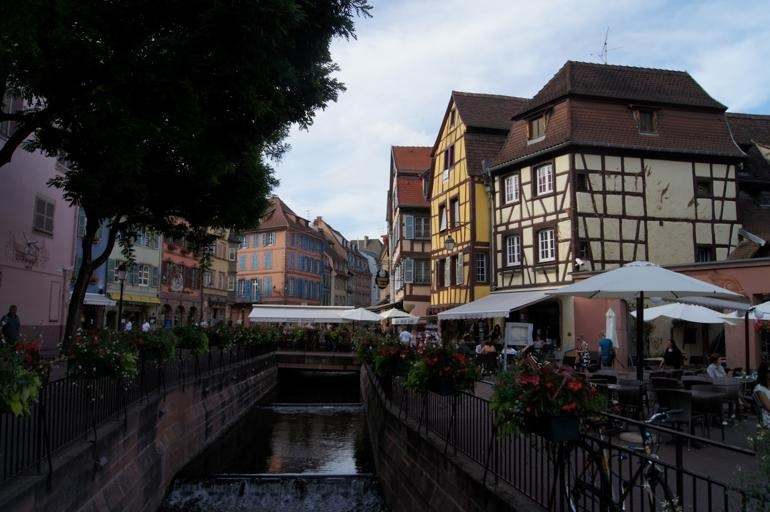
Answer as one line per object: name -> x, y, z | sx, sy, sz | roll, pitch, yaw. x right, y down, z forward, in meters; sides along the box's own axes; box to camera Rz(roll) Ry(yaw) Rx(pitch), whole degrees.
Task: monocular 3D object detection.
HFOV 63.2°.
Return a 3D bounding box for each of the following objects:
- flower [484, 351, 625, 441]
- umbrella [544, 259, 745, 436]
flower -> 2.031, 1.712, 7.916 | 1.058, 0.808, 1.096 | 1, -7, -14
umbrella -> 5.117, 1.721, 12.164 | 2.666, 1.907, 2.825 | 8, -9, -40
